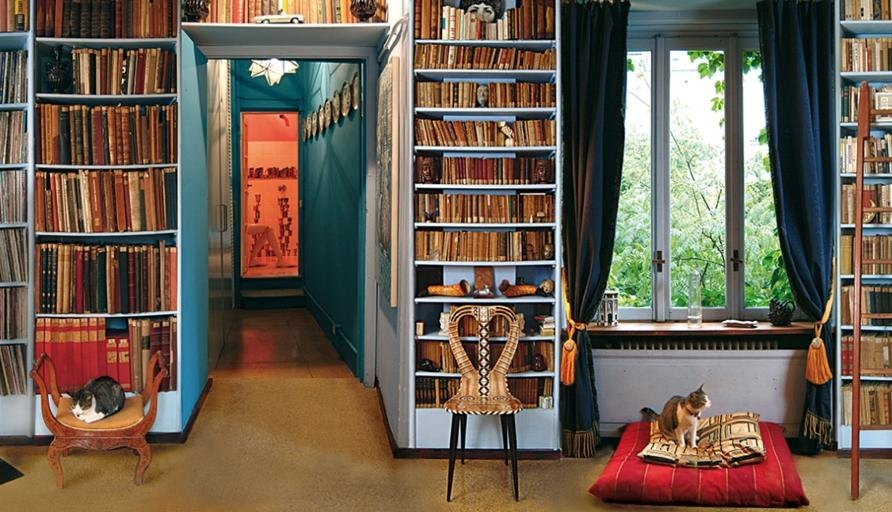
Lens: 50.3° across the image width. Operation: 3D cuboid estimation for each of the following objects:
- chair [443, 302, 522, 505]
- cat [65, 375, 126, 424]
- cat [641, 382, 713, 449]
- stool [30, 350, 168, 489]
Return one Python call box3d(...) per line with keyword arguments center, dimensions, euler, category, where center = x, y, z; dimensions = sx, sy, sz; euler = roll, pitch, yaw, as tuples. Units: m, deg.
box3d(center=(0.349, 1.301, 8.596), dimensions=(0.693, 1.672, 0.748), euler=(-1, 5, 3), category="chair")
box3d(center=(-3.175, 1.323, 8.641), dimensions=(0.351, 0.180, 0.481), euler=(17, 14, 17), category="cat")
box3d(center=(2.140, 1.481, 8.608), dimensions=(0.286, 0.586, 0.898), euler=(-5, -4, -38), category="cat")
box3d(center=(-3.228, 1.530, 8.736), dimensions=(1.113, 0.993, 0.623), euler=(0, 9, -10), category="stool")
